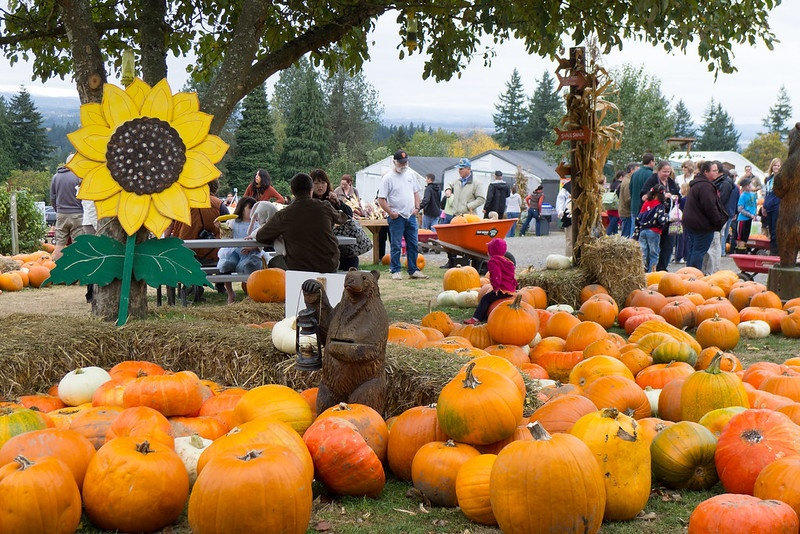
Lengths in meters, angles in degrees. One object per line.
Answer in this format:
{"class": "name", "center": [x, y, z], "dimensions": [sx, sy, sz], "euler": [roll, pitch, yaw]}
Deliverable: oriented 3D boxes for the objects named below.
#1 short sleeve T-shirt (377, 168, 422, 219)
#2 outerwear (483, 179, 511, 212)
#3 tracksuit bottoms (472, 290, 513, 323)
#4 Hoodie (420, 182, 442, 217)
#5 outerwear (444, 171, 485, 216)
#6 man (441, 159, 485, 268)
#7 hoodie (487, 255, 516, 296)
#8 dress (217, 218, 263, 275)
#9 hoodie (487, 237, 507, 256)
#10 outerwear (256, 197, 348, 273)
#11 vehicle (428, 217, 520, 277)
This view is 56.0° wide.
{"class": "short sleeve T-shirt", "center": [0.075, -1.336, 13.220], "dimensions": [0.900, 0.890, 0.403], "euler": [-13, 15, -36]}
{"class": "outerwear", "center": [2.614, -1.764, 18.780], "dimensions": [0.834, 1.017, 0.747], "euler": [1, 7, -10]}
{"class": "tracksuit bottoms", "center": [1.149, 0.477, 9.058], "dimensions": [0.376, 0.383, 0.396], "euler": [0, -7, 32]}
{"class": "Hoodie", "center": [0.786, -1.558, 17.184], "dimensions": [0.339, 0.833, 1.062], "euler": [8, 13, 32]}
{"class": "outerwear", "center": [1.440, -1.579, 16.351], "dimensions": [0.904, 0.927, 0.469], "euler": [17, 21, 27]}
{"class": "man", "center": [1.330, -1.226, 16.425], "dimensions": [0.863, 2.302, 0.774], "euler": [16, 20, 26]}
{"class": "hoodie", "center": [1.243, 0.109, 9.088], "dimensions": [0.302, 0.483, 0.440], "euler": [-13, -4, 38]}
{"class": "dress", "center": [-2.252, -0.429, 10.893], "dimensions": [0.625, 0.981, 0.589], "euler": [11, 25, 8]}
{"class": "hoodie", "center": [1.200, -0.248, 9.111], "dimensions": [0.173, 0.232, 0.239], "euler": [1, 8, -3]}
{"class": "outerwear", "center": [-1.113, -0.357, 9.280], "dimensions": [1.195, 1.090, 0.695], "euler": [-12, 15, -16]}
{"class": "vehicle", "center": [1.303, -0.297, 12.644], "dimensions": [1.198, 0.679, 0.989], "euler": [-1, 2, -34]}
